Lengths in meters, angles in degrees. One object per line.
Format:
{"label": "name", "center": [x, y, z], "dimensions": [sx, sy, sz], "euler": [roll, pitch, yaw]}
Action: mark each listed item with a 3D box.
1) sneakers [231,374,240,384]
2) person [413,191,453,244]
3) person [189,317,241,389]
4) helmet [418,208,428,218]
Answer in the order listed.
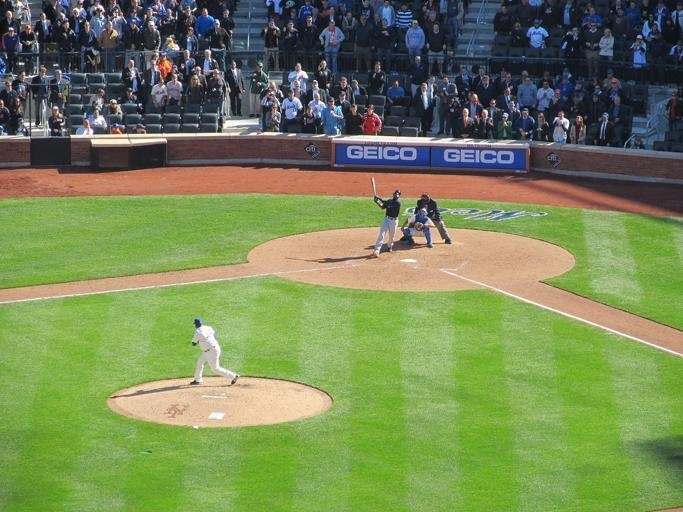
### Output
{"label": "sneakers", "center": [-2.563, 3.015, 28.833], "dimensions": [0.110, 0.322, 0.129], "euler": [39, 26, 29]}
{"label": "person", "center": [2.905, -1.180, 37.704], "dimensions": [1.176, 1.704, 0.917], "euler": [1, 18, -1]}
{"label": "person", "center": [-3.127, 2.250, 28.888], "dimensions": [1.022, 1.805, 1.190], "euler": [-1, 19, -7]}
{"label": "helmet", "center": [2.551, -1.310, 37.257], "dimensions": [0.223, 0.317, 0.403], "euler": [17, 24, 40]}
